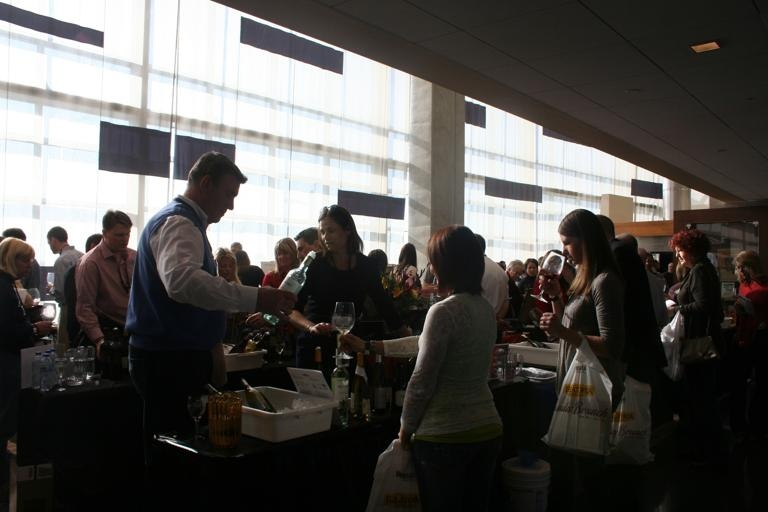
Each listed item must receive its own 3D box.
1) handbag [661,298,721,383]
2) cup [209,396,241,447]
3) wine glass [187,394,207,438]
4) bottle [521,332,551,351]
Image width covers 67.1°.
[{"bbox_3d":[2.912,0.798,5.476,0.771,0.792,0.361,-1,-10,-2],"label":"handbag"},{"bbox_3d":[-0.878,0.897,3.188,0.186,0.293,0.116,3,-4,-16],"label":"cup"},{"bbox_3d":[-1.079,0.899,3.343,0.105,0.237,0.351,3,-4,-17],"label":"wine glass"},{"bbox_3d":[1.311,0.698,5.018,0.226,0.065,0.242,9,-1,0],"label":"bottle"}]
